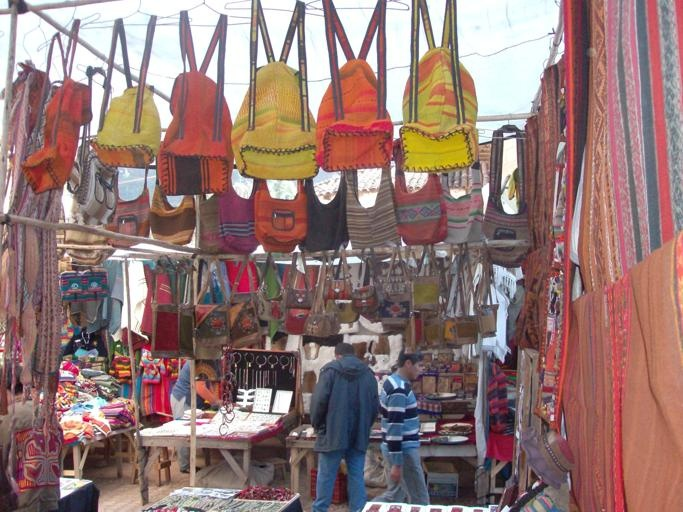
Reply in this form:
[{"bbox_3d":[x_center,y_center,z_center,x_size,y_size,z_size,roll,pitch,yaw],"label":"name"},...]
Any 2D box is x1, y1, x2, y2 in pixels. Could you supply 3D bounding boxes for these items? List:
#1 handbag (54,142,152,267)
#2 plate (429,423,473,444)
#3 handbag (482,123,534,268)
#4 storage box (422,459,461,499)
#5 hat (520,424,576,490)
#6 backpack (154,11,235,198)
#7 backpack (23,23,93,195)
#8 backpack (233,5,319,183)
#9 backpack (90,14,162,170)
[{"bbox_3d":[-1.723,-0.344,6.102,0.588,1.167,0.352,-2,1,-39],"label":"handbag"},{"bbox_3d":[0.971,1.553,7.229,0.344,0.163,0.645,-3,-10,9],"label":"plate"},{"bbox_3d":[1.132,-0.475,5.788,0.310,1.046,0.889,-2,-9,10],"label":"handbag"},{"bbox_3d":[0.894,2.003,7.435,0.276,0.216,0.308,-2,3,8],"label":"storage box"},{"bbox_3d":[0.835,0.831,3.366,0.295,0.217,0.145,-10,-12,43],"label":"hat"},{"bbox_3d":[-0.826,-0.854,4.765,0.421,0.915,0.626,1,-8,-13],"label":"backpack"},{"bbox_3d":[-1.542,-0.807,4.572,0.340,0.964,0.263,1,-8,-19],"label":"backpack"},{"bbox_3d":[-0.344,-0.895,4.454,0.438,0.906,0.302,0,-7,-6],"label":"backpack"},{"bbox_3d":[-1.191,-0.932,4.657,0.362,0.818,0.390,0,-8,-10],"label":"backpack"}]
